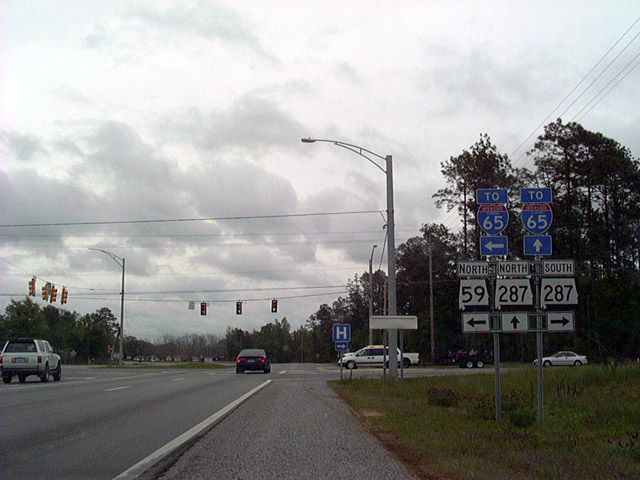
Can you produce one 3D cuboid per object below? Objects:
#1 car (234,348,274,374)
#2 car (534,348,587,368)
[{"bbox_3d":[-4.423,8.008,46.078,2.010,1.754,2.953,2,-14,-4],"label":"car"},{"bbox_3d":[18.396,9.110,54.015,2.735,1.614,6.006,-5,-16,23],"label":"car"}]
